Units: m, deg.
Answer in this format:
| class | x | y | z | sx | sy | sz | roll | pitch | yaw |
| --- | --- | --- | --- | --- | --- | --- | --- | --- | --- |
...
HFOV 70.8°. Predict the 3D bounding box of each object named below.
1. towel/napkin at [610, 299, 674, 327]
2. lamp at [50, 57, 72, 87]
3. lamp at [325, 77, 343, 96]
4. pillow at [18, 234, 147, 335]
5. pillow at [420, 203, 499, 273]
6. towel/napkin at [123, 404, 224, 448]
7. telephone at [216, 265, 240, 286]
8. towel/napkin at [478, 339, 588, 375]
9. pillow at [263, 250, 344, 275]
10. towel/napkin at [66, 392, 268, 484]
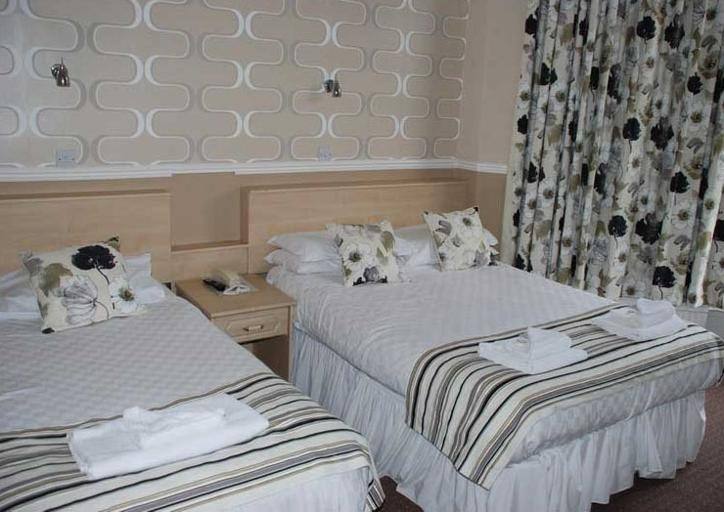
| class | x | y | z | sx | sy | sz | roll | pitch | yaw |
| --- | --- | --- | --- | --- | --- | --- | --- | --- | --- |
| towel/napkin | 1.863 | 0.388 | 3.372 | 0.241 | 0.097 | 0.252 | -8 | 9 | 1 |
| lamp | -2.017 | -1.208 | 3.377 | 0.111 | 0.178 | 0.097 | -10 | 13 | -24 |
| lamp | -0.240 | -1.412 | 4.312 | 0.168 | 0.150 | 0.075 | -14 | 15 | -39 |
| pillow | -1.737 | 0.148 | 3.191 | 0.793 | 0.208 | 0.831 | 9 | 41 | -23 |
| pillow | 0.797 | -0.130 | 4.172 | 0.526 | 0.536 | 0.159 | -11 | -7 | -32 |
| towel/napkin | -0.801 | 0.705 | 2.165 | 0.250 | 0.082 | 0.199 | -9 | 16 | -23 |
| telephone | -1.015 | 0.149 | 3.844 | 0.133 | 0.067 | 0.174 | -11 | 30 | -35 |
| towel/napkin | 0.946 | 0.571 | 2.892 | 0.275 | 0.070 | 0.288 | -6 | 11 | -29 |
| pillow | -0.417 | 0.069 | 4.011 | 0.293 | 0.086 | 0.295 | -6 | 17 | -38 |
| towel/napkin | -0.836 | 0.747 | 2.120 | 0.487 | 0.122 | 0.353 | -9 | 20 | -31 |
